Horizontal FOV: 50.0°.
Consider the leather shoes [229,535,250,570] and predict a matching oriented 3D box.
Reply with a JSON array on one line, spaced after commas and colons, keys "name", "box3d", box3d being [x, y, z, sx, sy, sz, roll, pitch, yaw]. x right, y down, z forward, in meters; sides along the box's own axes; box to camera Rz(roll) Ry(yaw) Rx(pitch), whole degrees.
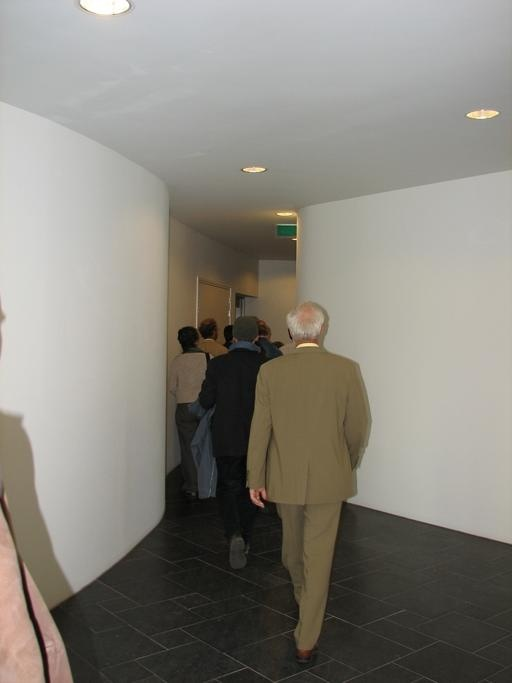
[{"name": "leather shoes", "box3d": [-0.127, 1.500, 3.930, 0.127, 0.220, 0.086, 1, -8, -5]}]

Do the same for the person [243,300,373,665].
[{"name": "person", "box3d": [0.256, 0.660, 2.794, 0.601, 1.740, 0.318, 1, -4, -2]}]
